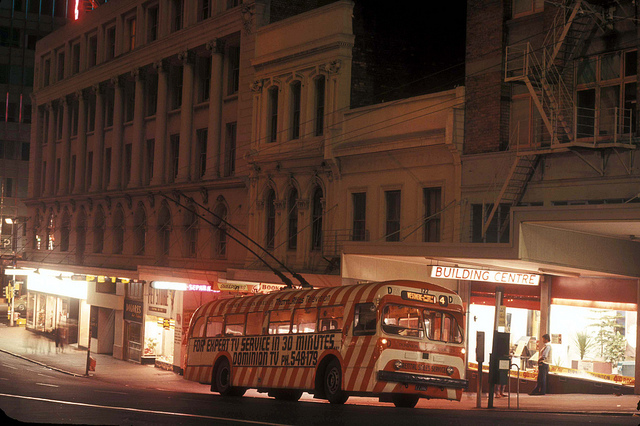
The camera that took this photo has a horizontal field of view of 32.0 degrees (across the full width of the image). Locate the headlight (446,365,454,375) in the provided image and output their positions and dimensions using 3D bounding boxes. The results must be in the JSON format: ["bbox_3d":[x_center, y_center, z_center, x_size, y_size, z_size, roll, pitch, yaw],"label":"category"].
[{"bbox_3d":[5.474,6.628,47.406,0.295,0.339,0.311,-3,-5,17],"label":"headlight"}]

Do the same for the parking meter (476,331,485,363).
[{"bbox_3d":[6.877,5.716,48.329,0.318,1.333,0.602,2,-12,7],"label":"parking meter"}]
